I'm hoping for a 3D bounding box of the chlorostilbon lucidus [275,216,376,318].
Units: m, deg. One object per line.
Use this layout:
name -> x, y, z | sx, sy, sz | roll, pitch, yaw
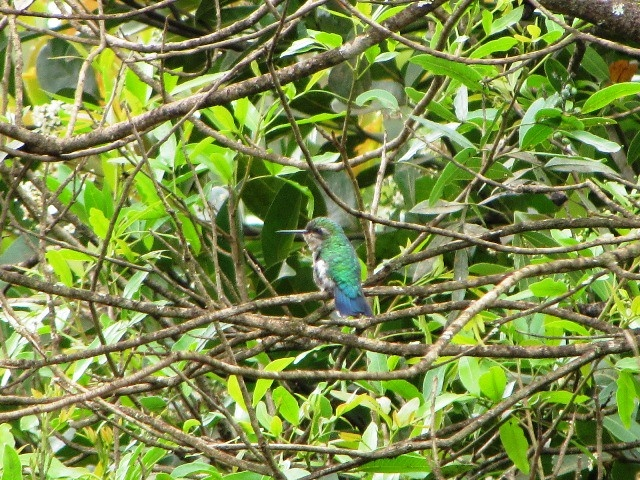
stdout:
chlorostilbon lucidus -> 0.092, 0.130, 4.731 | 0.576, 0.470, 0.266 | 11, 7, 43
